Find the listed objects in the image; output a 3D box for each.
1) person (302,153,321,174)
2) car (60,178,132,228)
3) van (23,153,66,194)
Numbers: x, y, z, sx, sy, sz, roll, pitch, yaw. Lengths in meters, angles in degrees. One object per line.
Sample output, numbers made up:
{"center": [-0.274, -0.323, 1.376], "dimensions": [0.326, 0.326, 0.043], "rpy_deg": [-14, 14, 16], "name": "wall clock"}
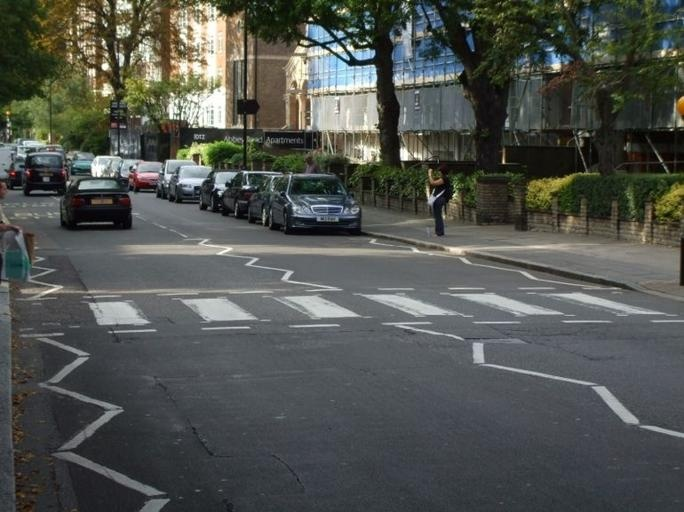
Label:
{"center": [-1.205, -3.870, 34.811], "dimensions": [0.528, 0.709, 1.764], "rpy_deg": [1, 6, -1], "name": "person"}
{"center": [-8.059, -1.740, 27.321], "dimensions": [2.099, 1.663, 0.965], "rpy_deg": [0, 5, -12], "name": "car"}
{"center": [-16.753, -4.744, 46.581], "dimensions": [1.572, 1.423, 2.710], "rpy_deg": [-1, 11, -16], "name": "van"}
